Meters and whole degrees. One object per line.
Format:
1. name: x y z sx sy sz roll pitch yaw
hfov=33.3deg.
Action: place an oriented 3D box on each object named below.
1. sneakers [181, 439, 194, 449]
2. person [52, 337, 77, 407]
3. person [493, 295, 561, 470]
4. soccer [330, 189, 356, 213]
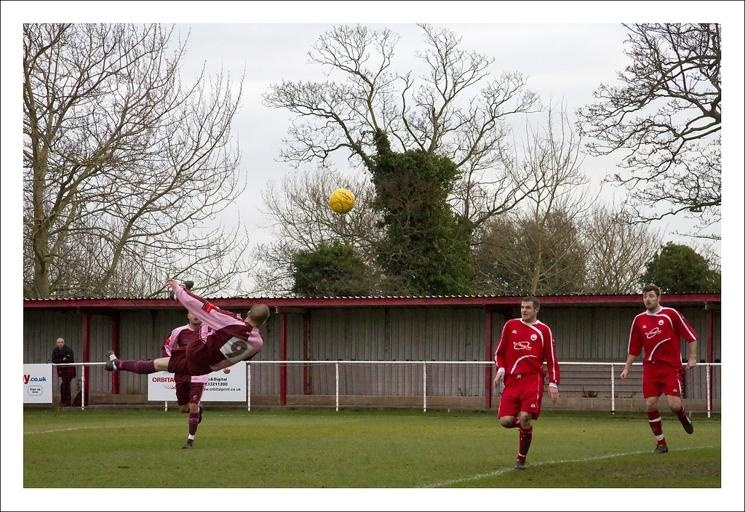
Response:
1. sneakers: -4.811 4.929 32.535 0.135 0.169 0.396 -3 -19 4
2. person: -10.416 3.854 42.191 0.712 2.188 1.260 -3 9 -15
3. person: 3.738 3.090 30.531 1.460 4.174 0.854 0 9 6
4. soccer: -1.129 -1.948 43.975 0.815 0.845 0.844 -2 9 -4
